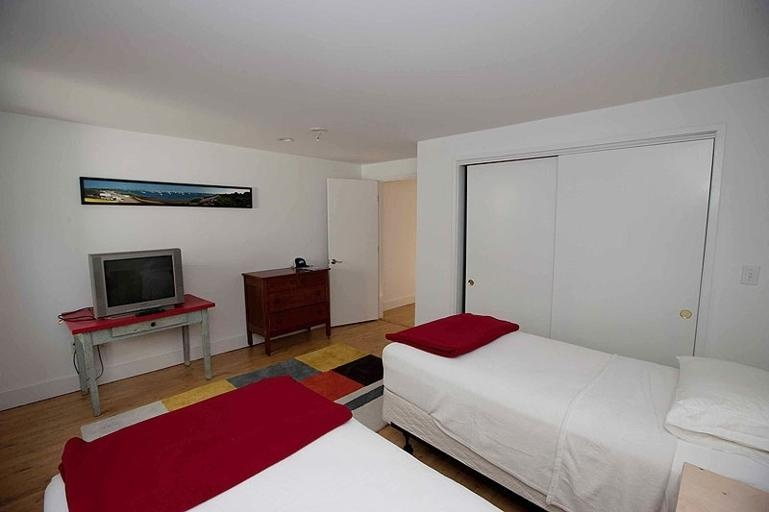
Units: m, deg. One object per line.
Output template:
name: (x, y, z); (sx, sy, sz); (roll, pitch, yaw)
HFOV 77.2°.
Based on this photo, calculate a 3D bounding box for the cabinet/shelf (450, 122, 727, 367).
cabinet/shelf: (2.040, -0.117, 4.625); (2.272, 2.030, 0.737); (5, 9, 39)
